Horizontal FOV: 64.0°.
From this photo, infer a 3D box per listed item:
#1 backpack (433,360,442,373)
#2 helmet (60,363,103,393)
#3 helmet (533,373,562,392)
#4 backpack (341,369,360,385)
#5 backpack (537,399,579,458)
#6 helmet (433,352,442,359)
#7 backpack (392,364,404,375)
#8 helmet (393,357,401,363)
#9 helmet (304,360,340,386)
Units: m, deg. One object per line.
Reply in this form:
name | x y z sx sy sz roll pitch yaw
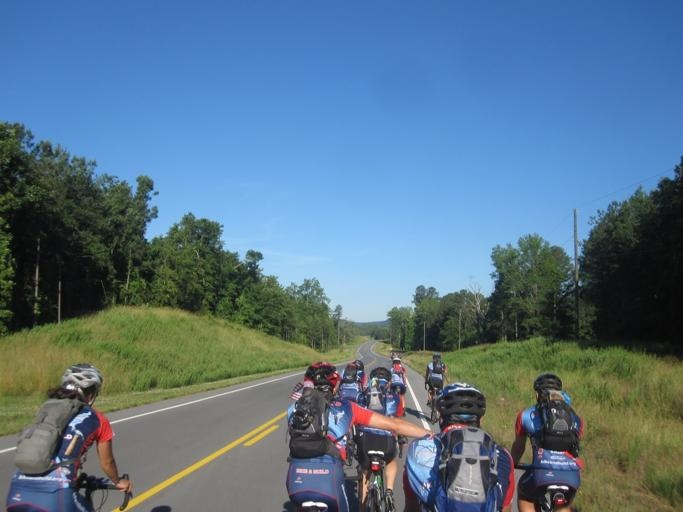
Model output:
backpack | 3.241 3.569 18.125 0.264 0.474 0.430 -3 22 5
helmet | -4.114 1.913 8.694 0.515 0.568 0.416 13 2 -44
helmet | 3.593 2.161 9.504 0.287 0.441 0.414 4 -4 17
backpack | 0.214 2.533 11.263 0.248 0.383 0.354 1 14 9
backpack | 3.551 2.859 8.952 0.584 0.908 0.505 3 -28 7
helmet | 3.210 3.334 18.082 0.204 0.328 0.308 3 -4 0
backpack | 1.722 3.421 16.538 0.271 0.309 0.150 17 -18 -39
helmet | 1.801 3.366 17.620 0.152 0.148 0.180 4 -13 -4
helmet | -0.336 2.214 10.075 0.463 0.545 0.396 -15 7 -6
